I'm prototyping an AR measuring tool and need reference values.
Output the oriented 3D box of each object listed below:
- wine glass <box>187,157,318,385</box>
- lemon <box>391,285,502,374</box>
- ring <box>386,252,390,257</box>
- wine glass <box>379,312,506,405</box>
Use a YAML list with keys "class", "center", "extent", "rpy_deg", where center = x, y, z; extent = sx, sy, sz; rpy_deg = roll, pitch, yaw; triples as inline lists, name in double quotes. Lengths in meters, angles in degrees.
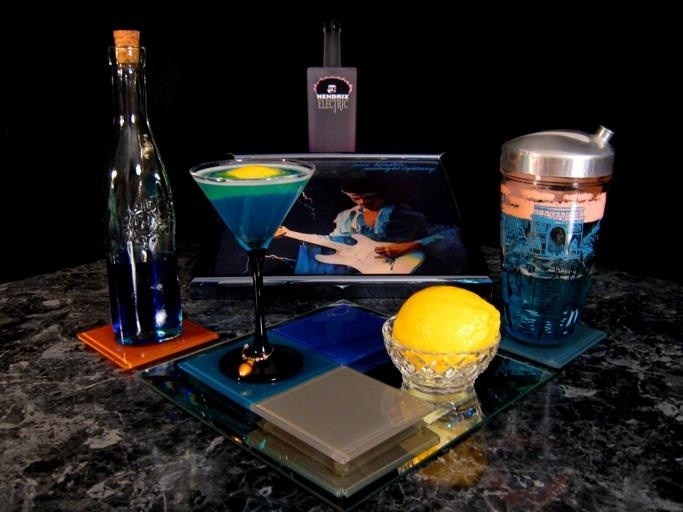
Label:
- class: "wine glass"
  center: [-0.138, 0.009, 0.912]
  extent: [0.190, 0.326, 0.245]
  rpy_deg: [-1, 23, -1]
- class: "lemon"
  center: [0.158, 0.102, 0.807]
  extent: [0.150, 0.105, 0.116]
  rpy_deg: [-5, -7, 18]
- class: "ring"
  center: [0.100, -0.002, 1.190]
  extent: [0.009, 0.002, 0.007]
  rpy_deg: [2, 61, 0]
- class: "wine glass"
  center: [0.150, 0.153, 0.879]
  extent: [0.143, 0.076, 0.133]
  rpy_deg: [0, 6, 2]
